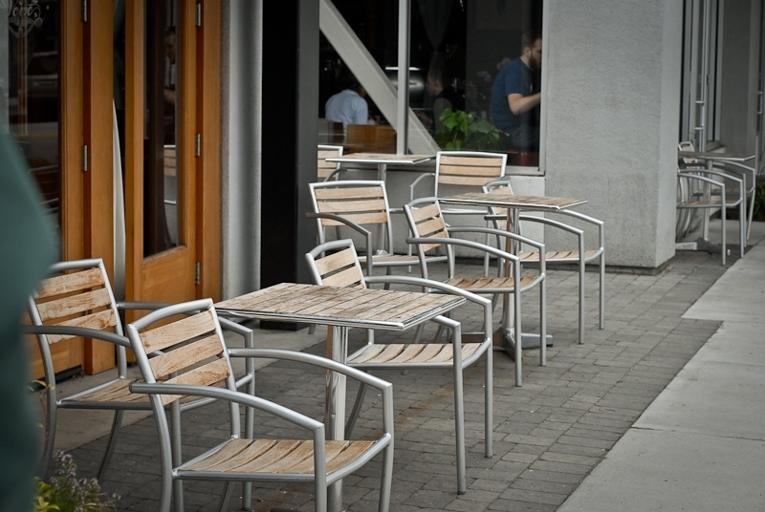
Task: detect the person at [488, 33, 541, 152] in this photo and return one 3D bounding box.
[{"bbox_3d":[1.537,-1.880,9.655,0.597,1.327,0.153,6,13,36],"label":"person"}]

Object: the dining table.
[{"bbox_3d":[4.663,-0.782,11.311,0.568,0.900,1.584,-6,-5,21],"label":"dining table"}]

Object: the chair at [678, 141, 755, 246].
[{"bbox_3d":[4.366,-0.892,11.208,0.485,0.655,1.400,25,38,34],"label":"chair"}]

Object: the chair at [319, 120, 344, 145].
[{"bbox_3d":[-0.617,-1.533,10.249,0.371,0.330,0.196,6,15,18],"label":"chair"}]
